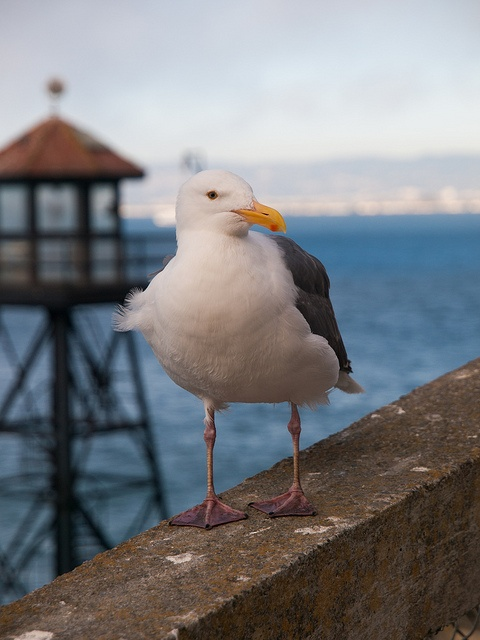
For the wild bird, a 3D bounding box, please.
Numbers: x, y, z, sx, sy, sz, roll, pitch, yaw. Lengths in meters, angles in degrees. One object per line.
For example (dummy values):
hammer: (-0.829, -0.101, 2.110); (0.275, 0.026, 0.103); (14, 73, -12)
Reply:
wild bird: (-0.010, 0.085, 5.199); (1.002, 1.764, 1.386); (-7, 10, 5)
